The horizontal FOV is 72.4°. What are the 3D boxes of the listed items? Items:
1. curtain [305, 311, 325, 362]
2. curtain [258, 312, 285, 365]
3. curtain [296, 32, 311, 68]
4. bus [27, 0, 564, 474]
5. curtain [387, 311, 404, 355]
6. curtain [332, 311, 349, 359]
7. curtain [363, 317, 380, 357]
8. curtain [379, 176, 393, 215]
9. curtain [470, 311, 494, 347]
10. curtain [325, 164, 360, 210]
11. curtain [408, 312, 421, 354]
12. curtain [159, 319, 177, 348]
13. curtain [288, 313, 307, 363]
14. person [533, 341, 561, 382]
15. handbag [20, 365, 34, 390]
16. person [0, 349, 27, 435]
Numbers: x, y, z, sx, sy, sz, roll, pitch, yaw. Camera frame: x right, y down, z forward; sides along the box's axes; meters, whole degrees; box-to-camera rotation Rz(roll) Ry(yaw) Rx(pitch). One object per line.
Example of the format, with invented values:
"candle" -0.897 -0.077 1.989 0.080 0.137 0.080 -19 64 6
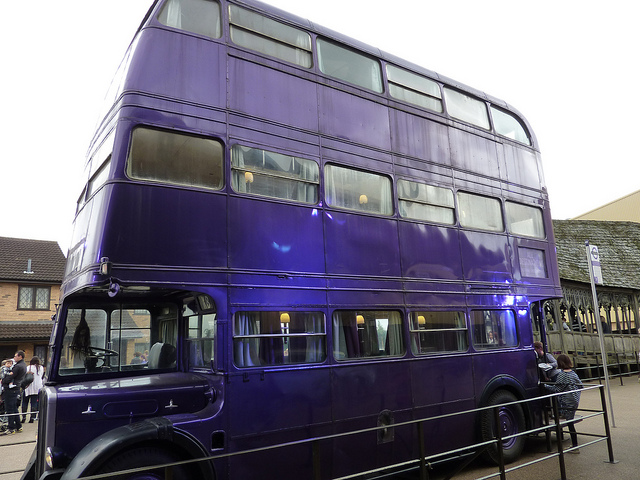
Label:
"curtain" -0.090 1.510 6.889 0.339 0.757 0.108 4 -16 -29
"curtain" -0.725 1.453 6.526 0.410 0.747 0.091 6 -17 -35
"curtain" -0.333 -3.389 7.743 0.319 0.869 0.047 7 -27 -18
"bus" -0.323 0.403 7.089 7.190 5.605 3.001 7 -12 -33
"curtain" 1.299 1.697 7.806 0.331 0.960 0.091 -8 23 12
"curtain" 0.268 1.530 7.127 0.268 0.826 0.076 -2 25 3
"curtain" 0.848 1.648 7.504 0.237 0.692 0.066 -1 -8 1
"curtain" 1.196 -0.843 8.083 0.281 0.734 0.055 6 16 26
"curtain" 3.334 1.809 8.927 0.611 0.786 0.063 0 -17 3
"curtain" 0.341 -0.905 7.575 0.692 0.725 0.032 8 -18 -32
"curtain" 1.701 1.683 7.972 0.174 0.795 0.065 14 -26 -32
"curtain" -2.469 1.522 7.096 0.411 0.542 0.069 0 -3 14
"curtain" -0.350 1.498 6.756 0.329 0.735 0.092 6 -16 -33
"person" 5.217 2.762 10.325 0.318 1.147 0.765 -27 -23 33
"handbag" -9.139 4.350 13.658 0.310 0.528 0.512 9 -14 -28
"person" -9.218 4.559 13.179 0.652 2.333 0.832 8 -18 -38
